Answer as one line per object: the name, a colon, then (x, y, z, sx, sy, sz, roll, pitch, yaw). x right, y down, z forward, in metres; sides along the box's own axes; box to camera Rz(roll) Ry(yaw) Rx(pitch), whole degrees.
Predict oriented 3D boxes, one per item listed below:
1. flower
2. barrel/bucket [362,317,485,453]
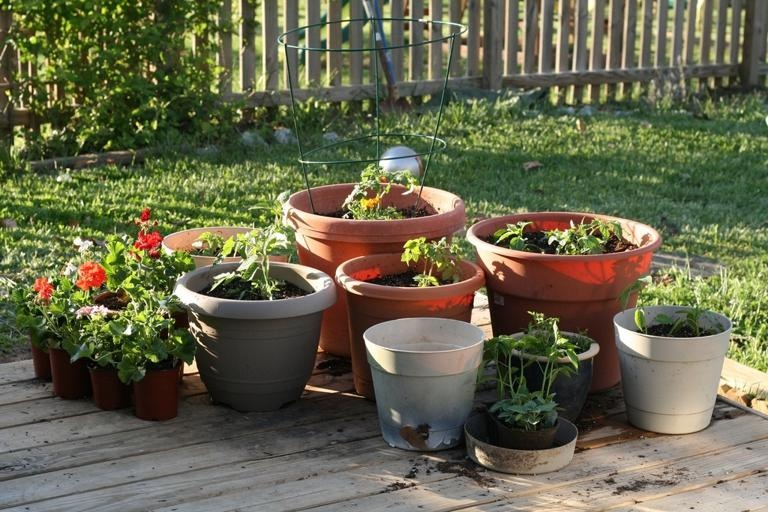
flower: (-1.239, 0.242, 3.821, 0.686, 0.518, 0.711, -3, 9, -19)
barrel/bucket: (0.184, 0.507, 3.719, 0.513, 0.443, 0.503, 0, 12, 0)
